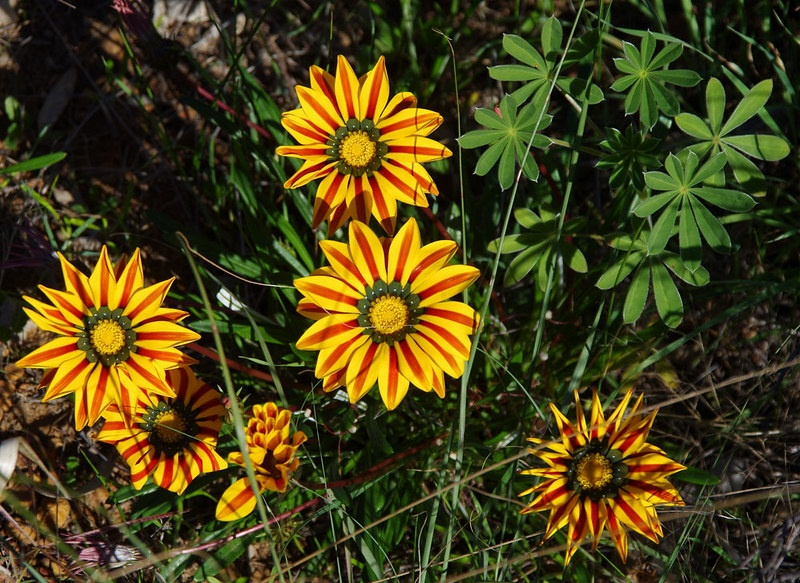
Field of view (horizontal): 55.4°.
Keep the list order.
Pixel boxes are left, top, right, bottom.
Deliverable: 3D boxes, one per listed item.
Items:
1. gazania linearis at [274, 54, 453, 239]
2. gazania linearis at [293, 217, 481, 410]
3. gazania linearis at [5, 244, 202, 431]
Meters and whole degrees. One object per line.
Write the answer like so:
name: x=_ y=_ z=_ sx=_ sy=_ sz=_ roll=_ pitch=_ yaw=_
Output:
gazania linearis: x=-0.137 y=-0.583 z=2.880 sx=0.623 sy=0.526 sz=0.543 roll=-11 pitch=36 yaw=5
gazania linearis: x=-0.094 y=0.067 z=2.824 sx=0.649 sy=0.307 sz=0.739 roll=-20 pitch=53 yaw=12
gazania linearis: x=-1.078 y=0.152 z=2.853 sx=0.570 sy=0.223 sz=0.601 roll=-7 pitch=52 yaw=-31
